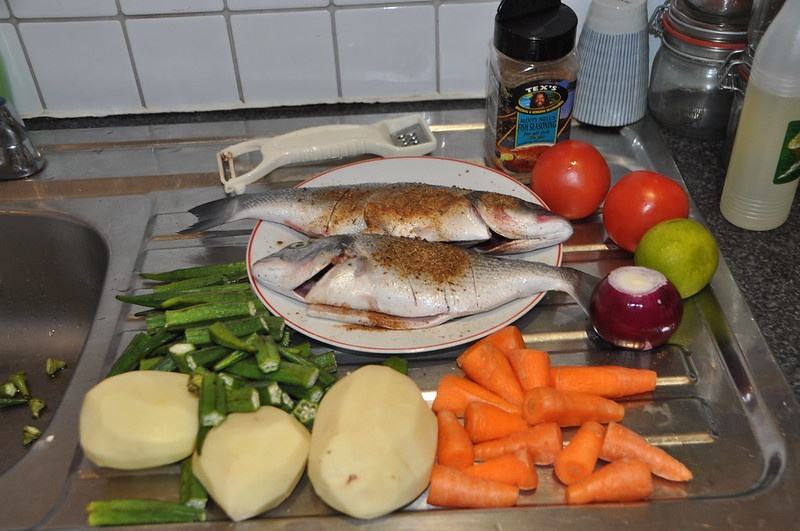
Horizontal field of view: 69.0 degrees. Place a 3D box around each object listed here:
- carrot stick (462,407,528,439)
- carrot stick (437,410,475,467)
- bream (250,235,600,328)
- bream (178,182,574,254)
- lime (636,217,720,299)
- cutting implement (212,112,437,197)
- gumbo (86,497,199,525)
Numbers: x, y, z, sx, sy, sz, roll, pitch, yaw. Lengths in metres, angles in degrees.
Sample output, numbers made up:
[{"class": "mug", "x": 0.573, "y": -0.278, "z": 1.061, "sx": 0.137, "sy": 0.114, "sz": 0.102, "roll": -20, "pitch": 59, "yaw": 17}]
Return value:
[{"class": "carrot stick", "x": 0.159, "y": 0.270, "z": 0.989, "sx": 0.095, "sy": 0.052, "sz": 0.053, "roll": 3, "pitch": 23, "yaw": -7}, {"class": "carrot stick", "x": 0.088, "y": 0.295, "z": 1.003, "sx": 0.063, "sy": 0.061, "sz": 0.110, "roll": -17, "pitch": 34, "yaw": 2}, {"class": "bream", "x": 0.082, "y": 0.036, "z": 1.118, "sx": 0.699, "sy": 0.196, "sz": 0.164, "roll": 3, "pitch": 3, "yaw": -5}, {"class": "bream", "x": -0.062, "y": -0.121, "z": 1.212, "sx": 0.804, "sy": 0.175, "sz": 0.120, "roll": 3, "pitch": 33, "yaw": 6}, {"class": "lime", "x": 0.522, "y": -0.019, "z": 1.158, "sx": 0.154, "sy": 0.141, "sz": 0.161, "roll": 0, "pitch": 31, "yaw": -3}, {"class": "cutting implement", "x": -0.202, "y": -0.332, "z": 1.405, "sx": 0.525, "sy": 0.189, "sz": 0.304, "roll": -21, "pitch": 36, "yaw": -32}, {"class": "gumbo", "x": -0.398, "y": 0.389, "z": 0.916, "sx": 0.179, "sy": 0.033, "sz": 0.031, "roll": -4, "pitch": 46, "yaw": 2}]
